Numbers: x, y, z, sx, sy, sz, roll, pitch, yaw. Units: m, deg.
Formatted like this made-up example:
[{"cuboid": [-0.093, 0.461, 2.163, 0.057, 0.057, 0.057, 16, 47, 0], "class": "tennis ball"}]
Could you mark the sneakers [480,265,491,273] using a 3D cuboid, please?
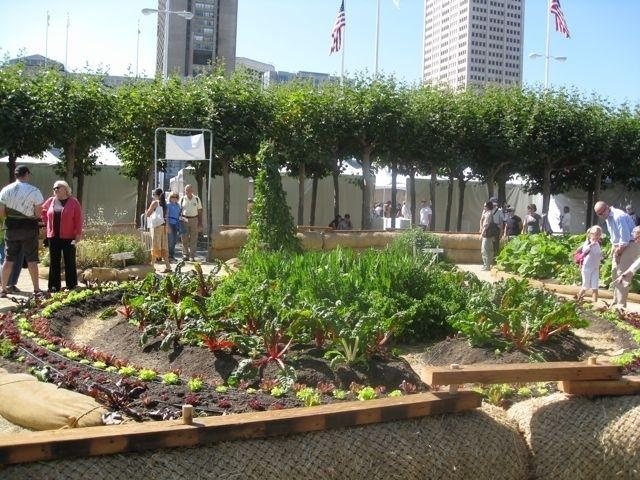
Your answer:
[{"cuboid": [4.267, 0.748, 16.621, 0.130, 0.194, 0.430, 0, 4, -19], "class": "sneakers"}]

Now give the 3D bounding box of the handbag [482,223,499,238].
[{"cuboid": [4.384, -0.223, 16.522, 0.384, 0.376, 0.607, 0, -2, 16], "class": "handbag"}]

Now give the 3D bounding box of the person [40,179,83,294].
[{"cuboid": [-3.958, -0.070, 9.848, 0.581, 1.661, 1.247, 0, 3, -25], "class": "person"}]

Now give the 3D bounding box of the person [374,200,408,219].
[{"cuboid": [3.163, -1.307, 28.554, 0.972, 0.587, 1.300, 1, -1, 4], "class": "person"}]

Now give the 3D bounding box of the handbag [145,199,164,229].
[{"cuboid": [-3.409, -0.515, 13.394, 0.321, 0.574, 0.394, 0, 3, -30], "class": "handbag"}]
